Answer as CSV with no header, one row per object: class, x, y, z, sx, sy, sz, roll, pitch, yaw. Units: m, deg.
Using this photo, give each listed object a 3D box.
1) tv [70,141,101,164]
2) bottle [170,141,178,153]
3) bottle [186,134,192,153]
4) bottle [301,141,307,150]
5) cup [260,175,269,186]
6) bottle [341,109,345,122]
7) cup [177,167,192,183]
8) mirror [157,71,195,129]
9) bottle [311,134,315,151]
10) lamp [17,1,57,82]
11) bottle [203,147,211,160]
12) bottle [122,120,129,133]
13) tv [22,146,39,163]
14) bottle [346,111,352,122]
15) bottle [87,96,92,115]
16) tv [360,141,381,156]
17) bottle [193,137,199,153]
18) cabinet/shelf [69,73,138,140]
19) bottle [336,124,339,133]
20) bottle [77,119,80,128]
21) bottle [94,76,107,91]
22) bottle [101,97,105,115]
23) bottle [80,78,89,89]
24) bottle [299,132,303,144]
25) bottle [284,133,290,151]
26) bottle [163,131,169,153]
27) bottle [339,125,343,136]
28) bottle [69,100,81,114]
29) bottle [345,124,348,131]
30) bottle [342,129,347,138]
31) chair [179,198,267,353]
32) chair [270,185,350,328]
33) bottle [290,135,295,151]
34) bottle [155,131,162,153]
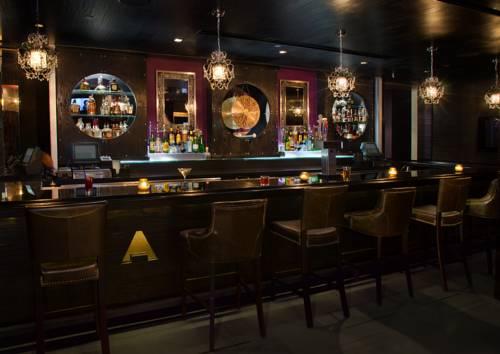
tv,-2.646,-0.311,6.402,0.463,0.431,0.318,0,-6,-17
bottle,-1.389,-0.544,7.220,0.144,0.198,0.091,-6,9,-21
bottle,-1.130,-0.597,7.299,0.117,0.281,0.071,-2,8,0
bottle,1.131,-0.666,8.395,0.157,0.188,0.032,-7,10,-30
cup,0.177,0.043,4.754,0.103,0.117,0.100,-1,3,0
bottle,2.094,-1.394,8.976,0.086,0.259,0.140,3,10,34
cup,-0.988,-0.024,5.951,0.186,0.234,0.199,1,-7,0
mirror,-1.373,-1.368,7.353,0.732,1.294,0.036,1,40,-9
bottle,1.345,-0.738,8.496,0.077,0.320,0.163,-1,8,9
lamp,-3.016,-1.845,5.619,0.520,0.879,1.445,-6,10,-25
bottle,-0.795,-0.450,7.397,0.120,0.205,0.238,-3,9,-6
bottle,-2.191,-0.882,6.936,0.127,0.189,0.073,-3,-2,-15
tv,-3.350,-0.330,6.010,0.290,0.282,0.075,-1,-16,39
bottle,2.217,-1.374,8.990,0.212,0.240,0.103,-8,10,-33
bottle,-2.698,-1.211,6.710,0.125,0.303,0.112,-6,9,-22
tv,2.519,-0.577,8.363,0.370,0.372,0.283,-2,-1,-22
bottle,-1.008,-0.594,7.352,0.087,0.265,0.157,0,9,15
cabinet/shelf,-2.507,-1.199,6.798,0.995,1.156,0.341,-1,-17,-23
bottle,1.961,-1.085,8.888,0.086,0.196,0.226,1,9,23
bottle,-2.847,-0.874,6.593,0.068,0.153,0.106,-5,9,-17
bottle,-2.583,-1.607,6.807,0.240,0.307,0.164,0,2,-14
bottle,-2.516,-1.205,6.797,0.089,0.266,0.122,-5,9,-19
bottle,-2.760,-1.564,6.695,0.137,0.191,0.192,0,9,16
bottle,1.065,-0.815,8.380,0.086,0.231,0.082,-2,8,0
bottle,0.772,-0.725,8.264,0.097,0.327,0.160,5,11,42
bottle,-1.530,-0.611,7.182,0.121,0.352,0.153,-4,8,-13
bottle,2.035,-1.022,8.883,0.087,0.228,0.267,0,9,13
bottle,-2.912,-1.163,6.598,0.137,0.246,0.254,-5,9,-17
bottle,2.177,-1.129,9.013,0.081,0.145,0.020,-8,10,-32
bottle,2.157,-0.982,9.017,0.047,0.160,0.149,2,47,23
chair,-0.304,0.913,4.244,0.906,1.445,0.832,-4,9,-11
chair,0.661,0.803,4.494,0.875,1.472,0.766,-1,8,10
bottle,0.879,-0.709,8.289,0.103,0.297,0.130,-1,8,7
bottle,-1.660,-0.624,7.172,0.121,0.379,0.128,-2,8,0
